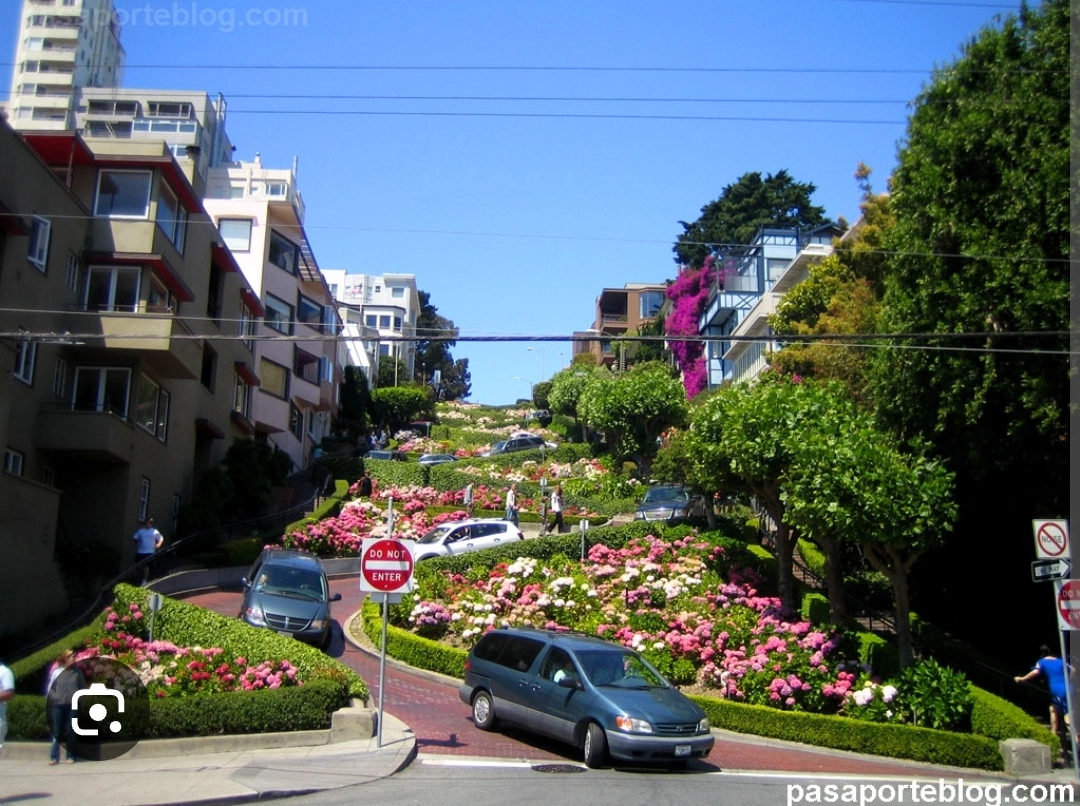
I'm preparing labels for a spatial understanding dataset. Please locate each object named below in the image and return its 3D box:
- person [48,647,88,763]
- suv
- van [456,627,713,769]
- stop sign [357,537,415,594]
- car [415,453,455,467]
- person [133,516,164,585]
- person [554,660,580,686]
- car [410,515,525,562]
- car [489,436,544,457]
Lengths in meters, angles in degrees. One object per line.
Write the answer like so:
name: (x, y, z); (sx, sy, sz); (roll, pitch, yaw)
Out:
person: (-8.557, 5.492, 18.090); (0.553, 1.432, 0.784); (3, -2, -28)
suv: (-6.504, 5.174, 25.826); (2.103, 2.021, 2.777); (3, -3, -17)
van: (0.749, 5.684, 19.495); (2.214, 1.900, 4.396); (14, -17, -34)
stop sign: (-2.974, 3.199, 19.501); (0.938, 1.087, 0.548); (3, -2, -18)
car: (-7.093, 4.037, 70.098); (2.256, 0.889, 1.057); (-6, 7, -30)
person: (-13.092, 4.959, 33.348); (0.761, 2.249, 0.652); (7, 10, -17)
person: (0.538, 5.209, 19.063); (0.269, 0.399, 0.690); (4, -3, -29)
car: (-2.651, 4.951, 36.129); (3.410, 1.345, 2.631); (3, -3, 3)
car: (-1.789, 3.265, 75.654); (2.975, 1.450, 1.700); (5, -7, -26)
